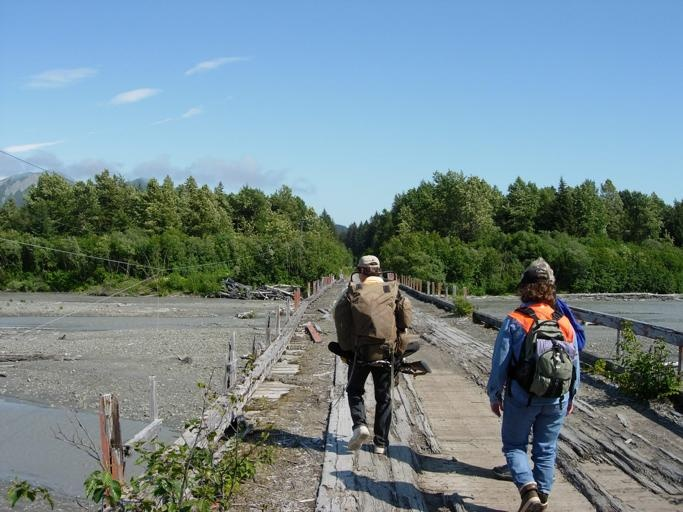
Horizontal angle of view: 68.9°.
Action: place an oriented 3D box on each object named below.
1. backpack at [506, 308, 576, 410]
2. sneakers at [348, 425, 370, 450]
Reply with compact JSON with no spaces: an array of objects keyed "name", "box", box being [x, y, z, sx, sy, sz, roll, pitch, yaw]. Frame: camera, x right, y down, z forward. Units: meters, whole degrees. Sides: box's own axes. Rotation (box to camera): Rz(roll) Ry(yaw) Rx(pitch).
[{"name":"backpack","box":[1.808,0.898,4.440,0.618,0.860,0.423,-1,2,9]},{"name":"sneakers","box":[0.177,2.050,5.549,0.148,0.421,0.176,18,39,-17]}]
